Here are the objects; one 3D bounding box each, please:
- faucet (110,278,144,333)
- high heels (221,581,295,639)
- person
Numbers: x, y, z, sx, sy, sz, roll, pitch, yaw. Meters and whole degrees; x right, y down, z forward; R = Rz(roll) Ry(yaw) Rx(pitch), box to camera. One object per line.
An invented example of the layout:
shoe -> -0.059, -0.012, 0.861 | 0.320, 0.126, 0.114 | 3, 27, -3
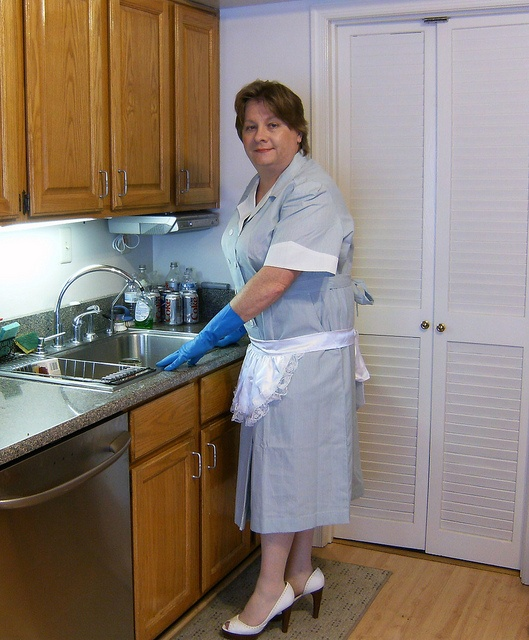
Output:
faucet -> -0.510, -0.056, 2.092 | 0.146, 0.208, 0.062 | -14, 36, -39
high heels -> -0.010, 0.900, 1.841 | 0.261, 0.119, 0.106 | -10, 10, -35
person -> 0.041, 0.149, 1.753 | 0.509, 1.725, 0.475 | 2, 5, 14
